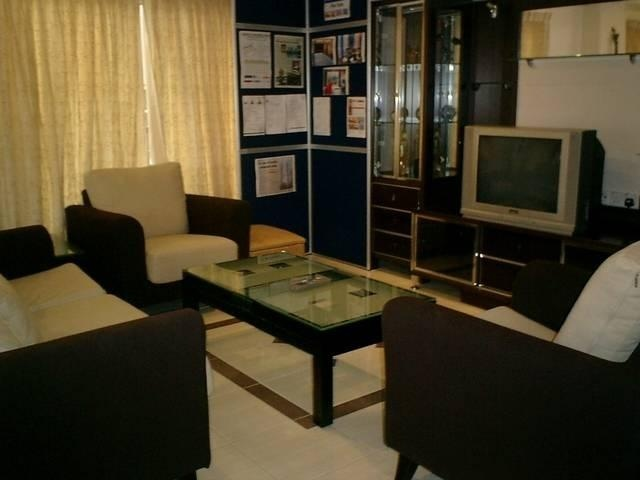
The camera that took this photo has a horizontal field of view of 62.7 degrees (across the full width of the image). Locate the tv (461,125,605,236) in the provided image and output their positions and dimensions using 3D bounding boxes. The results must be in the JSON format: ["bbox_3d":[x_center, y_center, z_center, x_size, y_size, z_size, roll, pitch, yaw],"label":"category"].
[{"bbox_3d":[1.708,-0.466,4.106,0.446,0.622,0.795,-15,21,-39],"label":"tv"}]

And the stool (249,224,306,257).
[{"bbox_3d":[-0.424,0.014,4.894,0.364,0.140,0.358,-5,12,-30],"label":"stool"}]
